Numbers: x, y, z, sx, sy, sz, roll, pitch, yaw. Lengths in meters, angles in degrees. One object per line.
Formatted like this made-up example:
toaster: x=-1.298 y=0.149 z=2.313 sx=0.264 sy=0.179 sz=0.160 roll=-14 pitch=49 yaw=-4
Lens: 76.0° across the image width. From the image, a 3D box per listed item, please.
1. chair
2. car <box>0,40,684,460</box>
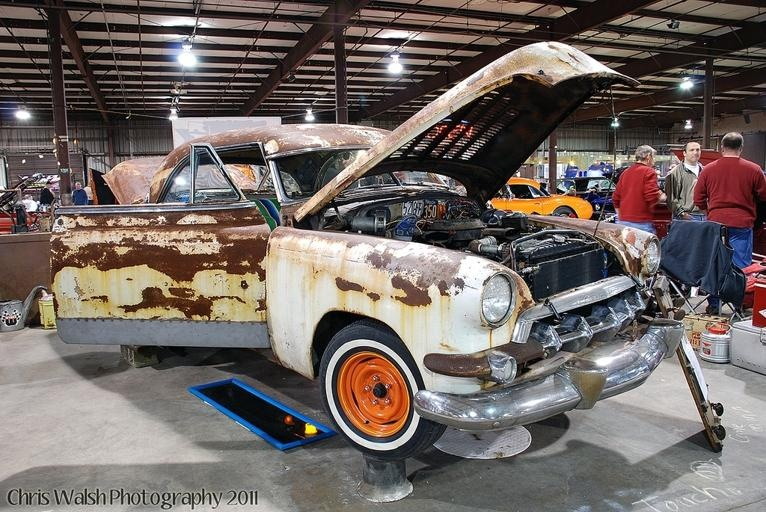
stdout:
chair: x=3.445 y=0.120 z=5.297 sx=0.511 sy=0.920 sz=0.967 roll=-5 pitch=2 yaw=-44
car: x=-0.913 y=0.035 z=4.476 sx=5.250 sy=1.778 sz=2.943 roll=3 pitch=7 yaw=36
